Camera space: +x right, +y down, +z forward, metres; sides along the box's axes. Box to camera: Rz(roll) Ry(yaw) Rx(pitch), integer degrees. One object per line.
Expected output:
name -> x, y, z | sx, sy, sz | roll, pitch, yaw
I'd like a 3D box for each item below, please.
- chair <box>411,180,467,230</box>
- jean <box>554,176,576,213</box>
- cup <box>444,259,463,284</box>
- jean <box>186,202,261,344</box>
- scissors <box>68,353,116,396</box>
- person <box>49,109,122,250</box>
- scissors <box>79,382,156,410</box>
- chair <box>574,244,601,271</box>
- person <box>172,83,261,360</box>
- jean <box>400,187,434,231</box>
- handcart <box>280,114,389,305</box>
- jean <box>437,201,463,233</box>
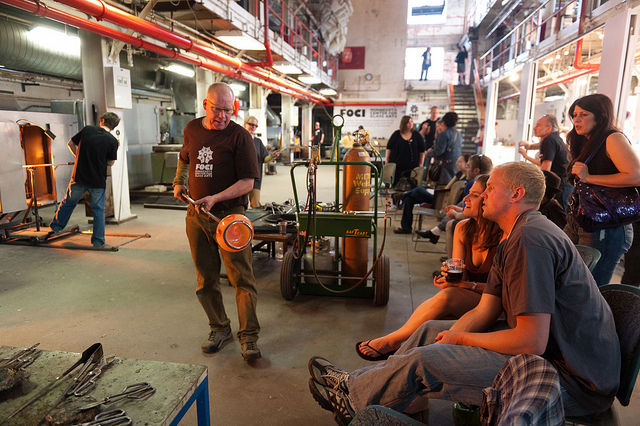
chair -> 1.935, -0.179, 6.982 | 0.854, 1.079, 0.729 | 2, 12, 1
jean -> 2.701, -0.212, 4.754 | 0.166, 0.451, 0.353 | 6, -12, 31
cup -> 1.097, 0.480, 3.506 | 0.176, 0.191, 0.180 | 1, -1, 0
jean -> -0.968, 0.600, 4.175 | 0.741, 1.422, 0.411 | 0, 7, 2
scissors -> -1.511, 1.065, 2.835 | 0.100, 0.035, 0.309 | 12, 17, 4
person -> -3.692, -0.512, 6.831 | 0.945, 2.160, 0.545 | -3, 8, -20
scissors -> -1.251, 1.118, 2.676 | 0.360, 0.027, 0.145 | -9, 17, -38
chair -> 2.298, 0.391, 3.642 | 0.190, 0.258, 0.196 | -5, -2, 37
person -> -0.998, 0.093, 4.169 | 0.896, 2.625, 0.558 | 1, 7, 8
jean -> 1.657, -0.121, 7.675 | 0.779, 0.801, 0.477 | 11, 18, 13
handcart -> 0.200, -0.016, 5.145 | 1.323, 2.188, 0.826 | 1, 8, 12
jean -> 1.916, 0.080, 6.349 | 0.169, 0.418, 0.306 | 21, -12, -22
